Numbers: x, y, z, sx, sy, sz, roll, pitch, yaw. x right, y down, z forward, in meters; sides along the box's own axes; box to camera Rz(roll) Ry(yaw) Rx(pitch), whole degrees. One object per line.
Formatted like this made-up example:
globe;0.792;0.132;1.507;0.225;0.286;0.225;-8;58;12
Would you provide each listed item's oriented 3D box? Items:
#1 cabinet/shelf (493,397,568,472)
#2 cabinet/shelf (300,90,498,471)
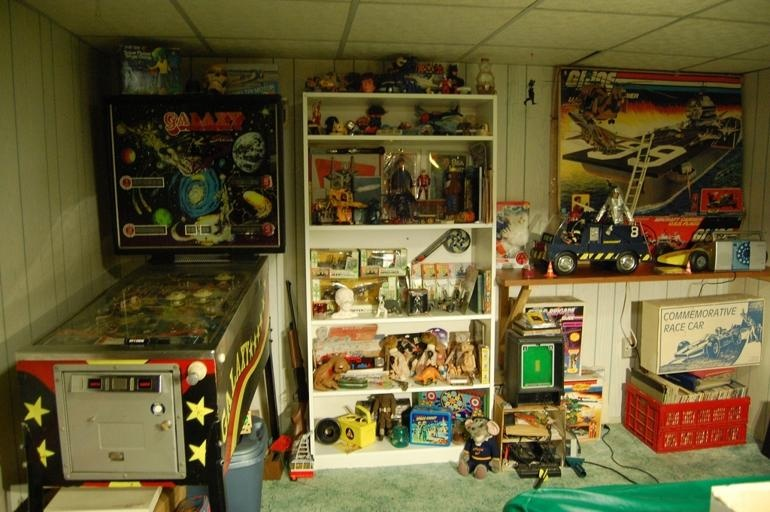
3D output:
cabinet/shelf;1.083;1.283;4.755;0.539;0.481;0.359;1;8;-9
cabinet/shelf;0.110;0.086;4.761;1.469;2.573;0.416;-3;7;-7
